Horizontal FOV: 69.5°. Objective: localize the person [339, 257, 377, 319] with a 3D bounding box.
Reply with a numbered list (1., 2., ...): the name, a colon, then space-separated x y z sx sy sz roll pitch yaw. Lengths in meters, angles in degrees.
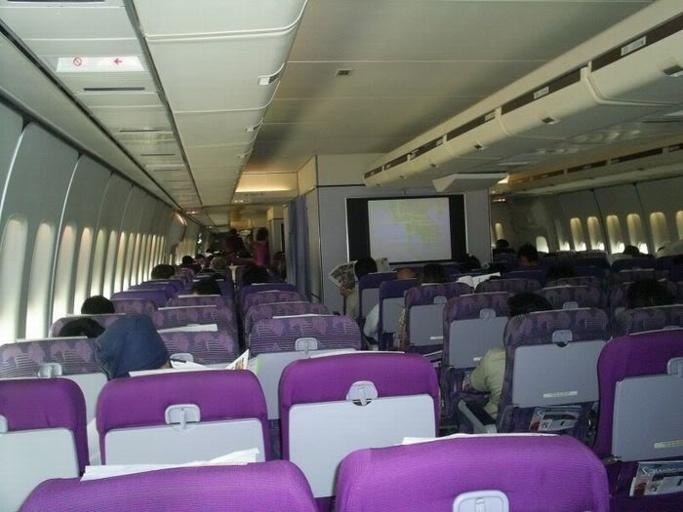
1. person: 0.102 0.532 8.013 0.734 1.010 0.707 0 -3 33
